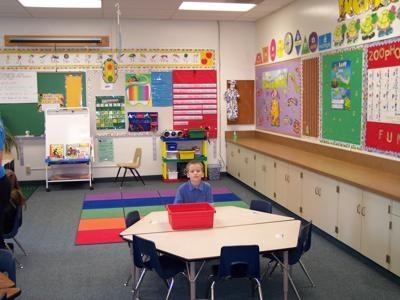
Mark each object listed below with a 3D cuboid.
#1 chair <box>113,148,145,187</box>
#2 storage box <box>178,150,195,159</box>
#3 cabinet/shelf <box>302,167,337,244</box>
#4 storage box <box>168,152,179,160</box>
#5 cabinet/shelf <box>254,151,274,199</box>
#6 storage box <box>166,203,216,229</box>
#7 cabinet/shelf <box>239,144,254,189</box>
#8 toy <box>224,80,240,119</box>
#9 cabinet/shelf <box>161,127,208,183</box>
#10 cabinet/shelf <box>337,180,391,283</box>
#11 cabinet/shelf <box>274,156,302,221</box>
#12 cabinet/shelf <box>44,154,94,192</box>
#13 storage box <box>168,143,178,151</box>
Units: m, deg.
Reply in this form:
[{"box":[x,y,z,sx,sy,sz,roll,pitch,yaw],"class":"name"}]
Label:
[{"box":[-1.753,0.406,8.214,0.692,0.947,0.596,1,5,-36],"class":"chair"},{"box":[-0.326,0.115,8.523,0.401,0.249,0.193,-2,8,-7],"class":"storage box"},{"box":[1.703,0.801,5.034,0.969,0.875,0.351,23,-25,-27],"class":"cabinet/shelf"},{"box":[-0.711,0.136,8.481,0.240,0.186,0.176,-1,1,-9],"class":"storage box"},{"box":[1.355,0.500,6.734,0.313,0.792,0.879,0,9,-13],"class":"cabinet/shelf"},{"box":[-0.089,0.688,3.426,0.389,0.165,0.258,1,5,-7],"class":"storage box"},{"box":[1.120,0.372,7.651,0.330,0.863,0.965,-2,6,-12],"class":"cabinet/shelf"},{"box":[0.888,-1.350,8.808,0.422,1.098,0.242,0,8,7],"class":"toy"},{"box":[-0.410,0.101,7.868,1.304,1.306,0.520,-1,5,-9],"class":"cabinet/shelf"},{"box":[2.062,1.009,4.018,0.424,0.946,1.053,0,4,-7],"class":"cabinet/shelf"},{"box":[1.566,0.652,5.673,0.359,0.856,0.950,-2,7,-13],"class":"cabinet/shelf"},{"box":[-3.261,0.563,8.061,1.196,0.827,0.791,-1,12,-10],"class":"cabinet/shelf"},{"box":[-0.716,-0.087,8.435,0.181,0.147,0.184,-1,-1,-13],"class":"storage box"}]
